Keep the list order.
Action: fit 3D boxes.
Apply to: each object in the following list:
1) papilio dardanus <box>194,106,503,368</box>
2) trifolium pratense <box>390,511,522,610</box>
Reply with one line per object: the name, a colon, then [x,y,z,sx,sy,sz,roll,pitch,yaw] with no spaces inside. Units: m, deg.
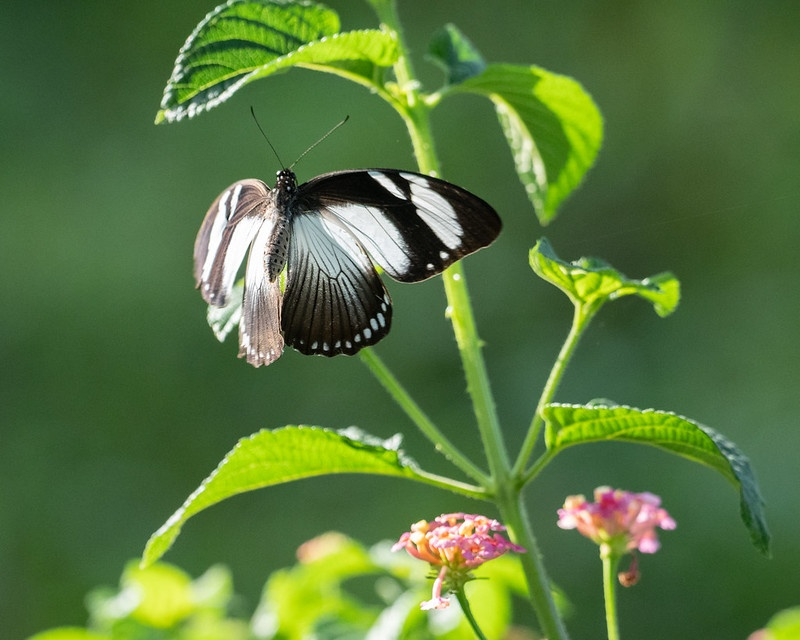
papilio dardanus: [-0.115,-0.146,1.625,0.613,0.423,0.154,-29,-30,20]
trifolium pratense: [0.085,0.412,1.484,0.192,0.144,0.237,-6,3,-34]
